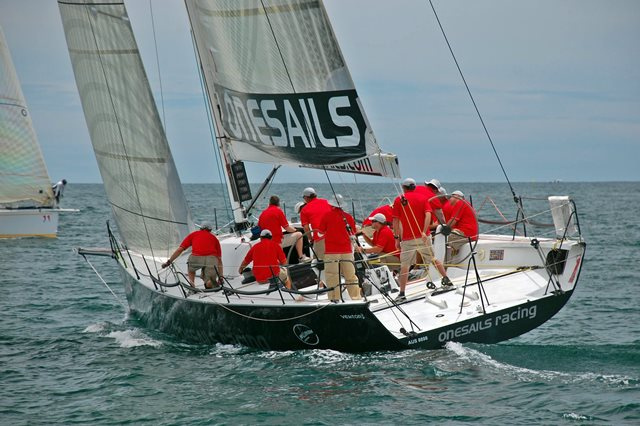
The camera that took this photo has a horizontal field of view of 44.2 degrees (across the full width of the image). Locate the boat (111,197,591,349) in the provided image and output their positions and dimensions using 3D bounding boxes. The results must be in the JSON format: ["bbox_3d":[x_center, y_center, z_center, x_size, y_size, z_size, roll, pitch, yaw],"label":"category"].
[{"bbox_3d":[-0.142,1.351,13.115,5.808,1.629,3.504,5,3,41],"label":"boat"}]

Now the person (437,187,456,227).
[{"bbox_3d":[2.246,-0.078,13.995,0.342,0.870,0.301,-3,-37,2],"label":"person"}]

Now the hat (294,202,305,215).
[{"bbox_3d":[-0.370,-0.103,14.010,0.181,0.208,0.092,-8,38,-27],"label":"hat"}]

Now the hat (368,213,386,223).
[{"bbox_3d":[0.966,0.079,12.916,0.225,0.089,0.131,6,0,2],"label":"hat"}]

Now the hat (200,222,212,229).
[{"bbox_3d":[-1.879,0.204,13.147,0.142,0.089,0.175,0,-2,0],"label":"hat"}]

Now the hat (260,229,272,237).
[{"bbox_3d":[-0.838,0.305,12.441,0.169,0.104,0.164,-1,8,-7],"label":"hat"}]

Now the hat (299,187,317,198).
[{"bbox_3d":[-0.189,-0.334,13.317,0.247,0.111,0.168,-1,6,34],"label":"hat"}]

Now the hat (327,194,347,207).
[{"bbox_3d":[0.269,-0.185,12.172,0.228,0.094,0.217,4,19,-40],"label":"hat"}]
